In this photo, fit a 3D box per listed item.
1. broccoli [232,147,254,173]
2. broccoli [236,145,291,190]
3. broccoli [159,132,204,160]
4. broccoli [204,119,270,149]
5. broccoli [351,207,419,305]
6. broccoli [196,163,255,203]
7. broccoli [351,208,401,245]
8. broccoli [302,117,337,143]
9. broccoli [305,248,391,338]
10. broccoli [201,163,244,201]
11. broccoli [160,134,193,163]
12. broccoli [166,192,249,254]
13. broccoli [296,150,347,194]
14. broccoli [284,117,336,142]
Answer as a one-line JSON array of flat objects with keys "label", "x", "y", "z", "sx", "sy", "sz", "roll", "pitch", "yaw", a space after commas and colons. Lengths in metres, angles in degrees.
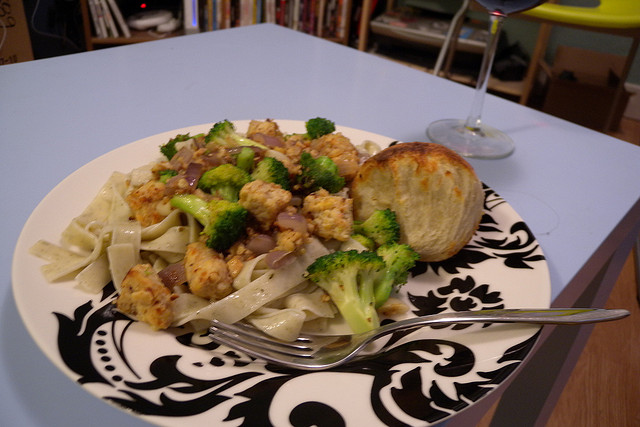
[{"label": "broccoli", "x": -0.258, "y": -0.177, "z": 1.502, "sx": 0.056, "sy": 0.072, "sz": 0.021, "roll": 24, "pitch": 25, "yaw": 8}, {"label": "broccoli", "x": -0.189, "y": -0.143, "z": 1.495, "sx": 0.168, "sy": 0.073, "sz": 0.132, "roll": 28, "pitch": 30, "yaw": 25}, {"label": "broccoli", "x": -0.500, "y": -0.246, "z": 1.627, "sx": 0.106, "sy": 0.043, "sz": 0.089, "roll": -31, "pitch": 31, "yaw": -18}, {"label": "broccoli", "x": -0.306, "y": -0.272, "z": 1.662, "sx": 0.212, "sy": 0.083, "sz": 0.105, "roll": 10, "pitch": 39, "yaw": 19}, {"label": "broccoli", "x": 0.210, "y": 0.128, "z": 1.416, "sx": 0.215, "sy": 0.111, "sz": 0.256, "roll": -12, "pitch": 73, "yaw": 9}, {"label": "broccoli", "x": -0.307, "y": -0.102, "z": 1.471, "sx": 0.144, "sy": 0.110, "sz": 0.129, "roll": 9, "pitch": 18, "yaw": 25}, {"label": "broccoli", "x": 0.200, "y": 0.023, "z": 1.462, "sx": 0.073, "sy": 0.110, "sz": 0.145, "roll": 49, "pitch": 34, "yaw": -9}, {"label": "broccoli", "x": -0.012, "y": -0.319, "z": 1.726, "sx": 0.119, "sy": 0.065, "sz": 0.123, "roll": 2, "pitch": 18, "yaw": 13}, {"label": "broccoli", "x": 0.082, "y": 0.233, "z": 1.341, "sx": 0.228, "sy": 0.139, "sz": 0.242, "roll": -7, "pitch": 76, "yaw": 11}, {"label": "broccoli", "x": -0.315, "y": -0.103, "z": 1.470, "sx": 0.120, "sy": 0.108, "sz": 0.114, "roll": -2, "pitch": 11, "yaw": -25}, {"label": "broccoli", "x": -0.496, "y": -0.221, "z": 1.633, "sx": 0.102, "sy": 0.028, "sz": 0.097, "roll": -44, "pitch": 41, "yaw": 1}, {"label": "broccoli", "x": -0.354, "y": 0.031, "z": 1.472, "sx": 0.234, "sy": 0.103, "sz": 0.144, "roll": 24, "pitch": 65, "yaw": 29}, {"label": "broccoli", "x": -0.005, "y": -0.133, "z": 1.530, "sx": 0.171, "sy": 0.072, "sz": 0.134, "roll": 21, "pitch": 48, "yaw": 11}, {"label": "broccoli", "x": -0.009, "y": -0.318, "z": 1.732, "sx": 0.097, "sy": 0.049, "sz": 0.110, "roll": 37, "pitch": 52, "yaw": 23}]
